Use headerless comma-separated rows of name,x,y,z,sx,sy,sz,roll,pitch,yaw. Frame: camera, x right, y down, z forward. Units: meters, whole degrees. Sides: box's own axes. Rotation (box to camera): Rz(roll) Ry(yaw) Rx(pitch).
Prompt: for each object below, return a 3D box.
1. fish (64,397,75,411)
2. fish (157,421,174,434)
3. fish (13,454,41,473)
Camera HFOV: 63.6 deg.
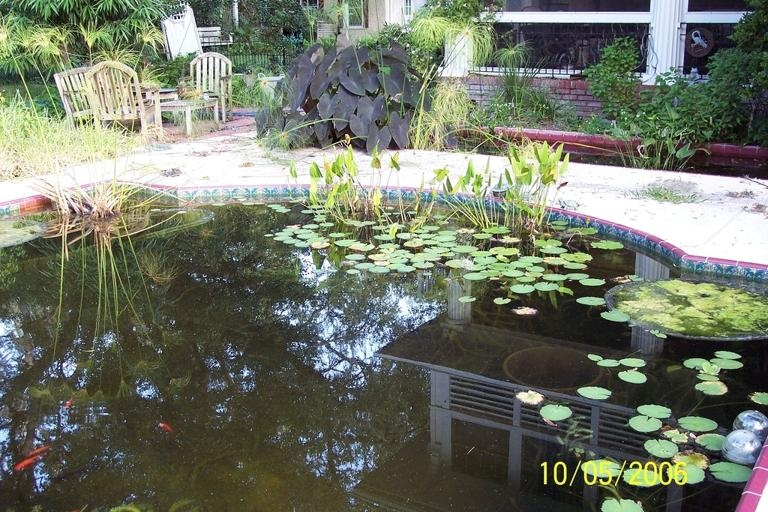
fish,-1.690,0.793,3.330,0.023,0.026,0.084,38,12,-23
fish,-1.113,0.872,3.168,0.099,0.012,0.051,17,27,39
fish,-1.730,0.998,3.004,0.114,0.026,0.065,-14,25,-31
